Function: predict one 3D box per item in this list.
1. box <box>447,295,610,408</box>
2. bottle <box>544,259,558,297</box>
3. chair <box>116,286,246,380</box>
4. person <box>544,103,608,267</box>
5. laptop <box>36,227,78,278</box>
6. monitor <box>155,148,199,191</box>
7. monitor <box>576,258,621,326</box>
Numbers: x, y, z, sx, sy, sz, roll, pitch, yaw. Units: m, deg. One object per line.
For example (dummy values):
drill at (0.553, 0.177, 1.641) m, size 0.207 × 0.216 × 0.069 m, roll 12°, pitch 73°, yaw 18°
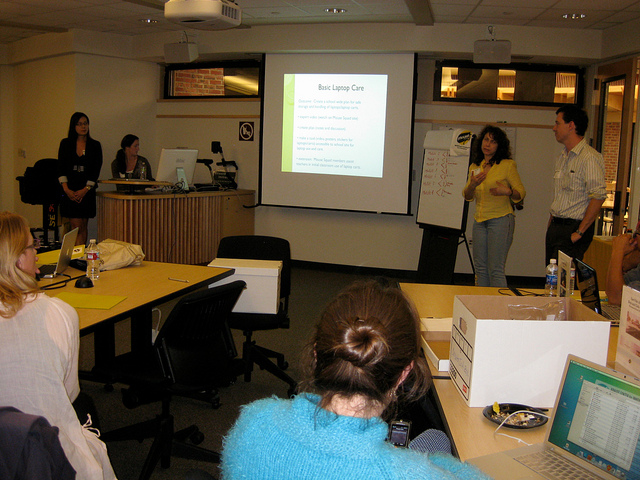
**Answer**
box at (0.826, 0.381, 2.090) m, size 0.450 × 0.325 × 0.461 m, roll 2°, pitch 3°, yaw 0°
bottle at (1.377, 0.233, 3.012) m, size 0.064 × 0.243 × 0.319 m, roll 5°, pitch 10°, yaw 23°
chair at (-0.830, 0.542, 2.912) m, size 0.667 × 0.528 × 0.548 m, roll -3°, pitch -1°, yaw 26°
person at (2.087, -0.426, 4.137) m, size 0.431 × 1.320 × 0.376 m, roll 6°, pitch 10°, yaw 27°
laptop at (-1.720, 0.091, 3.271) m, size 0.268 × 0.243 × 0.337 m, roll -2°, pitch 4°, yaw -8°
monitor at (-1.697, -0.855, 6.176) m, size 0.465 × 0.531 × 0.255 m, roll -6°, pitch 23°, yaw -41°
monitor at (1.509, 0.251, 2.665) m, size 0.205 × 0.256 × 0.352 m, roll -17°, pitch -19°, yaw 39°
